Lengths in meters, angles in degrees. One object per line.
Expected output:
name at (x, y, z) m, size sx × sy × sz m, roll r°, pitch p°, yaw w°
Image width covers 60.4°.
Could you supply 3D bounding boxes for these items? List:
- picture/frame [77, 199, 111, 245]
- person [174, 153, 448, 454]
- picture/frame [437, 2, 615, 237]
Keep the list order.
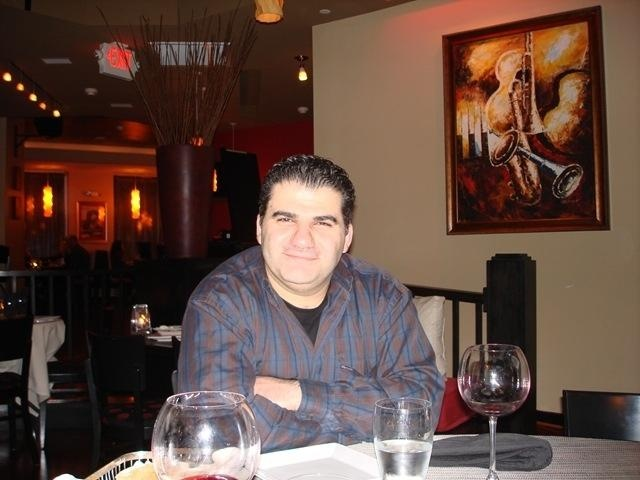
picture/frame at (-6.000, -0.485, 14.460) m, size 0.824 × 1.179 × 0.035 m, roll -2°, pitch 5°, yaw -31°
person at (-0.026, 0.195, 1.962) m, size 0.921 × 0.971 × 0.472 m, roll 0°, pitch -4°, yaw -16°
picture/frame at (1.665, -0.938, 4.590) m, size 1.277 × 1.775 × 0.206 m, roll -3°, pitch -4°, yaw 30°
